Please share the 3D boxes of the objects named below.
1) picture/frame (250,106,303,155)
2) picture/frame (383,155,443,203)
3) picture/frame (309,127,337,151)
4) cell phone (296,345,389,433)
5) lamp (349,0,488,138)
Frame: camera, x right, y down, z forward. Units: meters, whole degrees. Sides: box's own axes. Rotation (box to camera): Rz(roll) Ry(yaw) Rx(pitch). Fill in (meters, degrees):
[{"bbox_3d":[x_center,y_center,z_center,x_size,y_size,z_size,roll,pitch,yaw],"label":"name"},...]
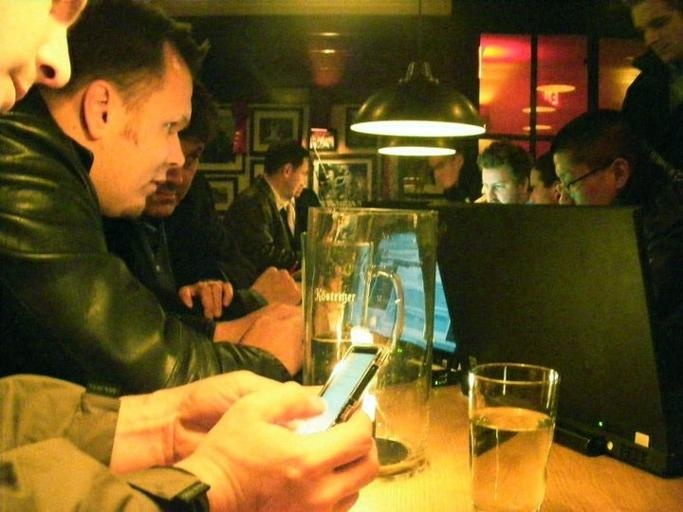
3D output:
[{"bbox_3d":[-0.379,-0.727,3.891,0.271,0.272,0.027,0,11,-4],"label":"picture/frame"},{"bbox_3d":[0.405,-0.456,3.894,0.340,0.245,0.083,-3,8,-10],"label":"picture/frame"},{"bbox_3d":[-0.096,-0.668,3.931,0.191,0.174,0.113,1,-8,2],"label":"picture/frame"},{"bbox_3d":[0.000,0.214,1.074,0.133,0.142,0.068,4,10,29],"label":"cell phone"},{"bbox_3d":[0.340,-0.613,2.601,0.532,0.616,0.596,1,9,-7],"label":"lamp"}]
